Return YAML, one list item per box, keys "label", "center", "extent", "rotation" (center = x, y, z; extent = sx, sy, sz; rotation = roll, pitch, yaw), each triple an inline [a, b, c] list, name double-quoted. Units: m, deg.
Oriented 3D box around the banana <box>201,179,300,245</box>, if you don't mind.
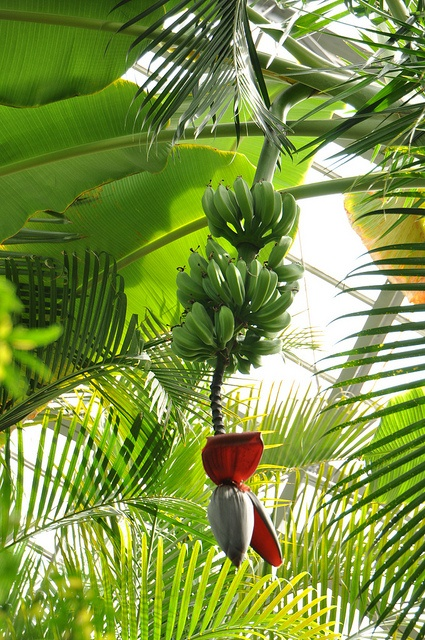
- label: "banana"
  center: [0.077, -0.244, 1.539]
  extent: [0.181, 0.179, 0.128]
  rotation: [0, -82, 10]
